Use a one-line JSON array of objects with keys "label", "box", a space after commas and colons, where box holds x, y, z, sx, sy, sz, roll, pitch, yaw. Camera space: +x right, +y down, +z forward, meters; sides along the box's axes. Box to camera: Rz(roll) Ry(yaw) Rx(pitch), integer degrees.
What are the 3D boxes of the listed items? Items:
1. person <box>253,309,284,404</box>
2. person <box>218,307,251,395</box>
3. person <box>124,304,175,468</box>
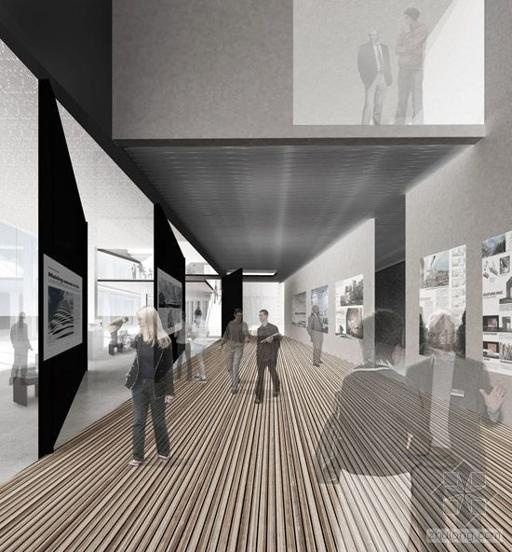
[{"label": "person", "box": [0.148, 0.961, 4.721, 0.344, 1.019, 0.223, 2, -2, 4]}, {"label": "person", "box": [-0.297, 0.903, 4.746, 0.390, 0.963, 0.315, 2, -2, -2]}, {"label": "person", "box": [-0.901, 0.866, 2.969, 0.297, 1.314, 0.318, 2, 10, -11]}]
